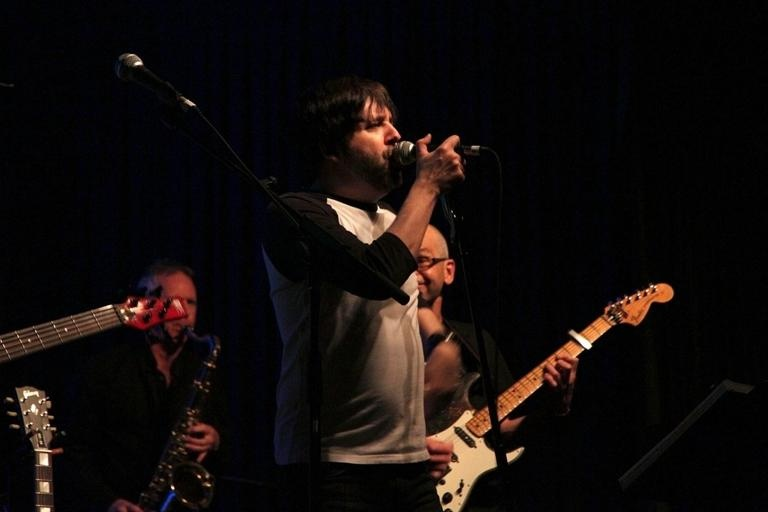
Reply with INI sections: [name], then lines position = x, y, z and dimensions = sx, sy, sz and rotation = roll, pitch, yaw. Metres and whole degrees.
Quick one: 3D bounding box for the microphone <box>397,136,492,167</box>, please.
[microphone]
position = 0.270, -0.512, 4.263
dimensions = 0.500, 0.165, 0.164
rotation = -3, 18, 21
